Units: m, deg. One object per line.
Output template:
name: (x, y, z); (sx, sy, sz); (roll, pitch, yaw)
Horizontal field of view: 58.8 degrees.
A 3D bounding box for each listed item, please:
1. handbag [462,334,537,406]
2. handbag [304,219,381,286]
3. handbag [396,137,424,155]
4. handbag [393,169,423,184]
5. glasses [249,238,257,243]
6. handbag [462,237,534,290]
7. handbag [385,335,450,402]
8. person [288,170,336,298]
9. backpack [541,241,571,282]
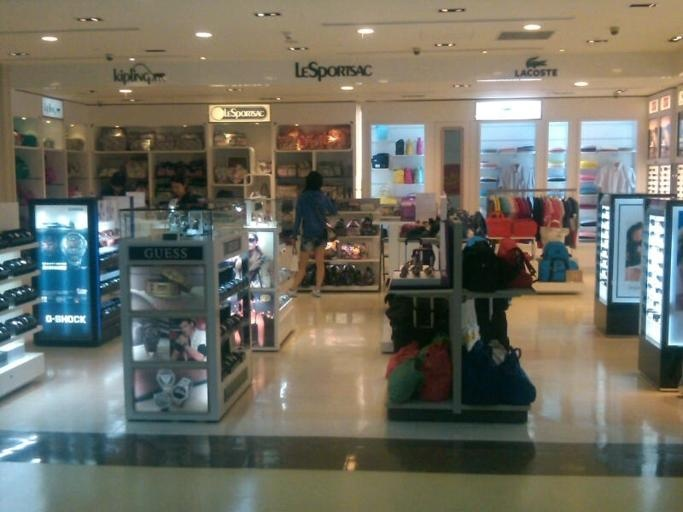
handbag: (1.310, 0.971, 5.022); (0.588, 0.490, 0.251); (1, 11, 10)
handbag: (0.001, -0.051, 9.585); (1.106, 0.997, 0.343); (0, -2, -1)
handbag: (1.435, -2.274, 12.604); (0.404, 0.249, 0.135); (1, -3, -4)
handbag: (1.408, -1.661, 12.611); (0.525, 0.253, 0.314); (1, 3, 5)
glasses: (-0.997, -0.169, 6.611); (0.054, 0.046, 0.086); (4, -2, 23)
handbag: (1.308, 0.085, 4.985); (0.593, 0.355, 0.428); (1, 11, 5)
handbag: (0.645, 0.997, 5.226); (0.540, 0.504, 0.237); (-8, -1, 1)
person: (-0.463, -0.309, 9.164); (0.728, 1.892, 0.426); (-1, 11, -3)
backpack: (3.333, 0.074, 9.313); (0.488, 0.615, 0.222); (1, 11, 7)
